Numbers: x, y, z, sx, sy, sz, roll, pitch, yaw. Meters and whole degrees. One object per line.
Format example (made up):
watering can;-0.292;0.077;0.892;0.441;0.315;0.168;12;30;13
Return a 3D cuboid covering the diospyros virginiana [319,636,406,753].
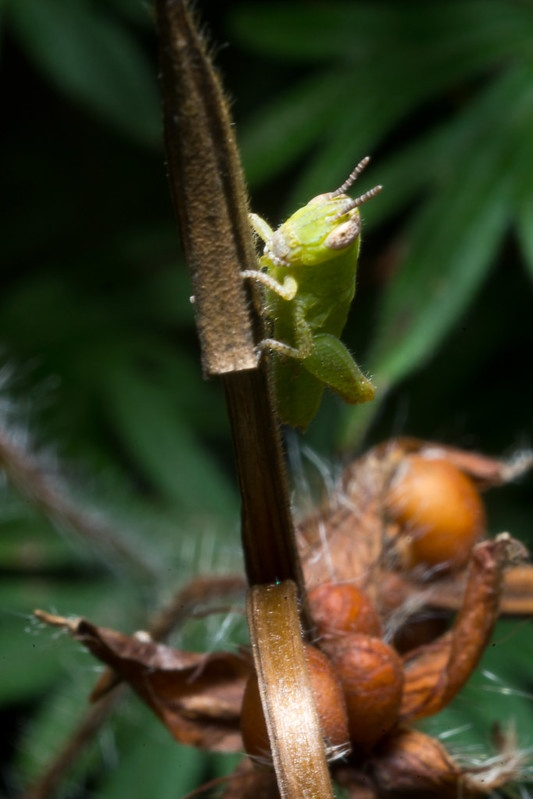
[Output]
diospyros virginiana;0.065;0.204;0.568;0.071;0.064;0.089;-2;-8;9

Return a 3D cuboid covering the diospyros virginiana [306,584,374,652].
diospyros virginiana;0.052;0.152;0.569;0.032;0.039;0.023;-30;3;11

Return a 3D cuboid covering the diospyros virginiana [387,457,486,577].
diospyros virginiana;0.120;0.090;0.611;0.070;0.077;0.051;4;-26;-13

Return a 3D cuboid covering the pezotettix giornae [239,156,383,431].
pezotettix giornae;0.046;-0.085;0.668;0.106;0.212;0.103;15;21;43
